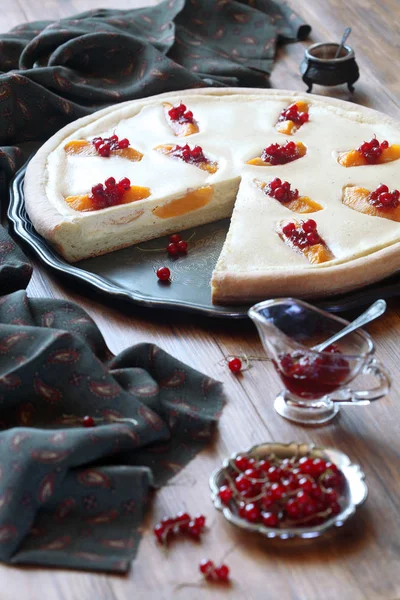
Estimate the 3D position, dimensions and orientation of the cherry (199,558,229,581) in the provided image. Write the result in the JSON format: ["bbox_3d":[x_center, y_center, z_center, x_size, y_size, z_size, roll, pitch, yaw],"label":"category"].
[{"bbox_3d":[0.024,0.467,1.013,0.045,0.020,0.024,10,79,16],"label":"cherry"}]

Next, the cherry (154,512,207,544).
[{"bbox_3d":[-0.038,0.424,1.088,0.069,0.023,0.062,14,40,29],"label":"cherry"}]

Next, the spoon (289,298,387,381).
[{"bbox_3d":[0.309,0.094,1.333,0.291,0.039,0.056,-29,42,-14],"label":"spoon"}]

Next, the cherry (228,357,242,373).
[{"bbox_3d":[0.088,0.164,1.477,0.038,0.035,0.039,4,70,-5],"label":"cherry"}]

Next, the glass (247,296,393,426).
[{"bbox_3d":[0.258,0.148,1.315,0.347,0.217,0.175,14,28,26],"label":"glass"}]

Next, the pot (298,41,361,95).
[{"bbox_3d":[0.607,-1.105,2.800,0.290,0.183,0.248,-5,47,2],"label":"pot"}]

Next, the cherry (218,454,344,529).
[{"bbox_3d":[0.151,0.342,1.081,0.225,0.058,0.169,10,38,11],"label":"cherry"}]
